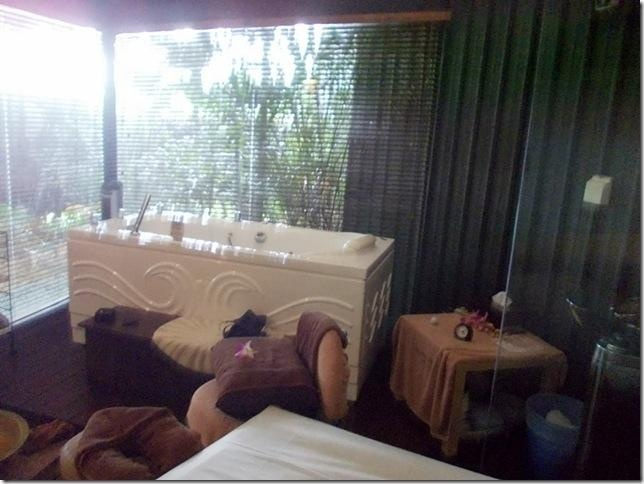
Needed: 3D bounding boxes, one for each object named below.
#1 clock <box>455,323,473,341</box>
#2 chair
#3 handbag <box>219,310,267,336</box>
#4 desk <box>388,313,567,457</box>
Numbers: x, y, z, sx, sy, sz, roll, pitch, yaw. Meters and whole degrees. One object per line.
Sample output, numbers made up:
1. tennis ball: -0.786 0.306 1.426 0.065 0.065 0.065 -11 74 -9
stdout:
1. clock: 0.521 0.332 1.773 0.050 0.046 0.063 4 13 19
2. chair: -0.157 0.402 1.436 0.388 0.233 0.382 3 12 -5
3. handbag: -0.269 0.281 1.686 0.108 0.039 0.083 1 12 3
4. desk: 0.434 0.443 1.625 0.447 0.271 0.453 0 8 0
